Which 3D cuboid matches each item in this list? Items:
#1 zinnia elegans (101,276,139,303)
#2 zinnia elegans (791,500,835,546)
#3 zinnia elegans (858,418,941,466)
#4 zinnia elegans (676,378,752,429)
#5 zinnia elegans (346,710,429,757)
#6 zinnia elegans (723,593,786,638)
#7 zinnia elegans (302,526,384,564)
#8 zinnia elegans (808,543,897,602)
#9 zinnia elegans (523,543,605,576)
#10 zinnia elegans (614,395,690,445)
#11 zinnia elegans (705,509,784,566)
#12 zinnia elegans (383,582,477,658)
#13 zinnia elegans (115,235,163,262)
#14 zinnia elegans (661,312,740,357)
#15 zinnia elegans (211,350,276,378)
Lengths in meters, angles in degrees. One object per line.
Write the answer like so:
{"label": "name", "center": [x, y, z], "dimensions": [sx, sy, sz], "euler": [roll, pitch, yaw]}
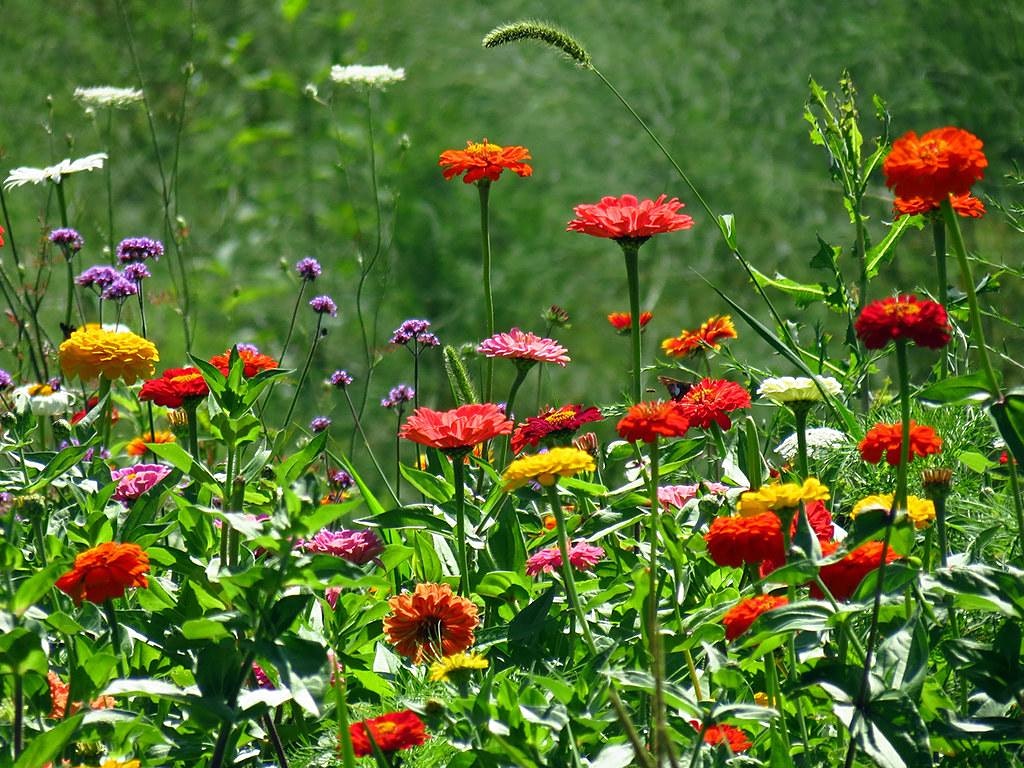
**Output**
{"label": "zinnia elegans", "center": [-1.269, -0.313, 6.057], "dimensions": [0.088, 0.080, 0.092], "euler": [8, 16, 35]}
{"label": "zinnia elegans", "center": [0.895, 0.402, 5.368], "dimensions": [0.119, 0.072, 0.121], "euler": [3, 33, 8]}
{"label": "zinnia elegans", "center": [1.105, 0.159, 5.256], "dimensions": [0.142, 0.057, 0.153], "euler": [8, 17, 31]}
{"label": "zinnia elegans", "center": [0.590, 0.060, 5.455], "dimensions": [0.159, 0.095, 0.167], "euler": [24, 58, 25]}
{"label": "zinnia elegans", "center": [-0.330, 0.961, 5.040], "dimensions": [0.140, 0.057, 0.144], "euler": [-21, 19, 1]}
{"label": "zinnia elegans", "center": [0.687, 0.676, 5.216], "dimensions": [0.172, 0.149, 0.145], "euler": [4, 37, 0]}
{"label": "zinnia elegans", "center": [-0.501, 0.473, 5.589], "dimensions": [0.237, 0.110, 0.199], "euler": [1, 38, -4]}
{"label": "zinnia elegans", "center": [0.961, 0.532, 5.245], "dimensions": [0.185, 0.076, 0.192], "euler": [-15, 20, 32]}
{"label": "zinnia elegans", "center": [0.153, 0.522, 5.461], "dimensions": [0.135, 0.050, 0.140], "euler": [-10, -2, 25]}
{"label": "zinnia elegans", "center": [0.392, 0.098, 5.158], "dimensions": [0.135, 0.081, 0.143], "euler": [-2, 22, 11]}
{"label": "zinnia elegans", "center": [0.654, 0.441, 5.176], "dimensions": [0.220, 0.132, 0.117], "euler": [7, 37, 3]}
{"label": "zinnia elegans", "center": [-0.233, 0.702, 5.268], "dimensions": [0.266, 0.216, 0.175], "euler": [8, 37, 4]}
{"label": "zinnia elegans", "center": [-1.210, -0.442, 6.082], "dimensions": [0.102, 0.079, 0.107], "euler": [0, 8, 27]}
{"label": "zinnia elegans", "center": [0.589, -0.142, 5.825], "dimensions": [0.158, 0.062, 0.164], "euler": [-23, 1, 18]}
{"label": "zinnia elegans", "center": [-0.813, -0.066, 5.633], "dimensions": [0.128, 0.049, 0.126], "euler": [-4, 11, -41]}
